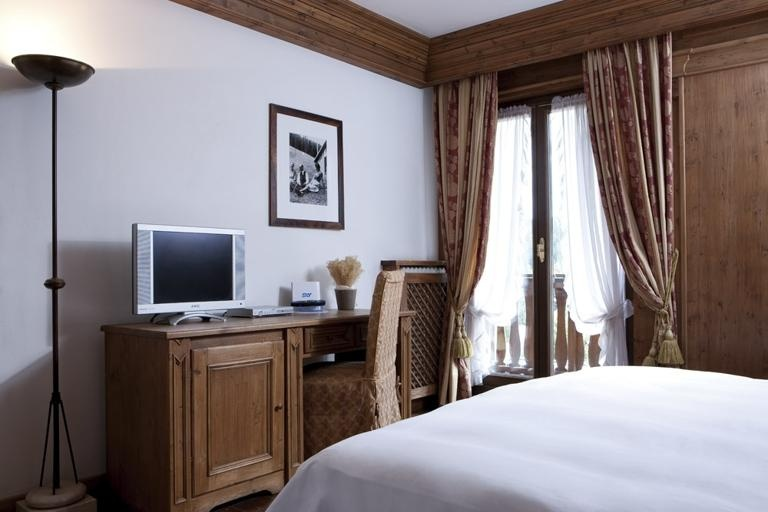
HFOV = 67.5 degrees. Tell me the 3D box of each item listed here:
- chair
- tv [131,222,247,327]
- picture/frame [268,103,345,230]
[{"bbox_3d":[-0.240,0.684,3.984,0.714,1.125,0.780,0,5,0],"label":"chair"},{"bbox_3d":[-1.196,0.122,3.601,0.689,0.608,0.213,1,-4,-44],"label":"tv"},{"bbox_3d":[-0.616,-0.687,4.417,0.049,1.267,0.941,-6,-8,42],"label":"picture/frame"}]
